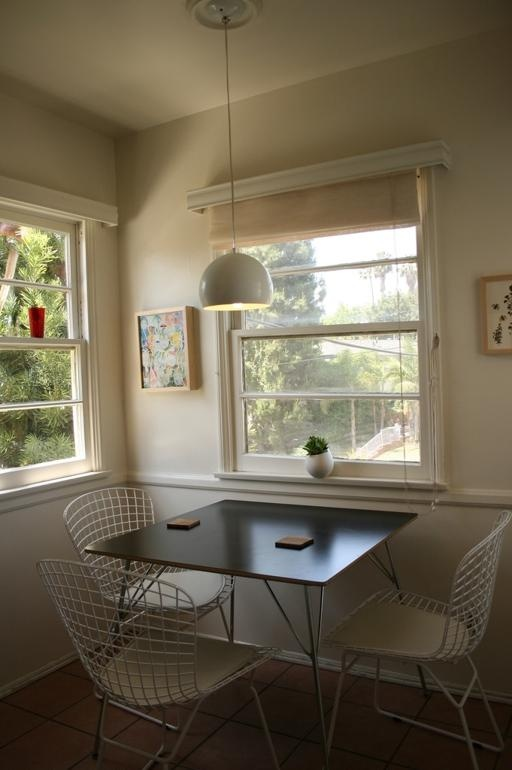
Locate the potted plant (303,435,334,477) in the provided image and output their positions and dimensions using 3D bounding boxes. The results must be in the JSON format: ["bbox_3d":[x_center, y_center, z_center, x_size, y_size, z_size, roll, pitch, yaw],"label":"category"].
[{"bbox_3d":[0.279,0.321,2.762,0.166,0.219,0.168,-1,1,23],"label":"potted plant"}]

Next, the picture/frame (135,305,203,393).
[{"bbox_3d":[-0.441,-0.192,3.105,0.482,0.554,0.095,0,0,31],"label":"picture/frame"}]

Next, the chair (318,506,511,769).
[{"bbox_3d":[0.607,0.854,2.090,0.563,0.844,0.740,-4,-1,23],"label":"chair"}]
